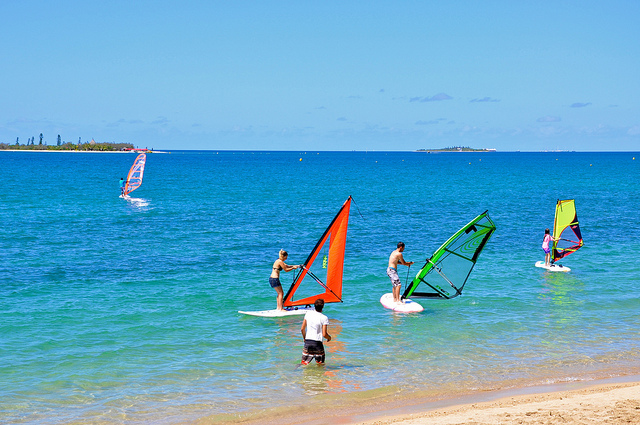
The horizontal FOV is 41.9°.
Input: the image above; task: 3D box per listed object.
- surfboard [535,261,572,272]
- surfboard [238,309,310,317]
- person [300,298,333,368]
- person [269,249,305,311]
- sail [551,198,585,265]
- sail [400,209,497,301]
[{"bbox_3d":[13.387,3.112,48.199,1.213,0.340,1.985,-2,6,-28],"label":"surfboard"},{"bbox_3d":[-2.181,4.891,41.038,4.840,0.288,0.997,0,2,-5],"label":"surfboard"},{"bbox_3d":[-0.177,5.225,36.667,1.279,3.109,1.310,1,7,-1],"label":"person"},{"bbox_3d":[-1.752,3.246,40.991,1.855,2.775,1.061,0,1,5],"label":"person"},{"bbox_3d":[14.249,1.101,48.004,1.635,3.729,1.378,3,7,18],"label":"sail"},{"bbox_3d":[6.734,2.509,42.457,2.546,7.308,1.269,43,1,-19],"label":"sail"}]
